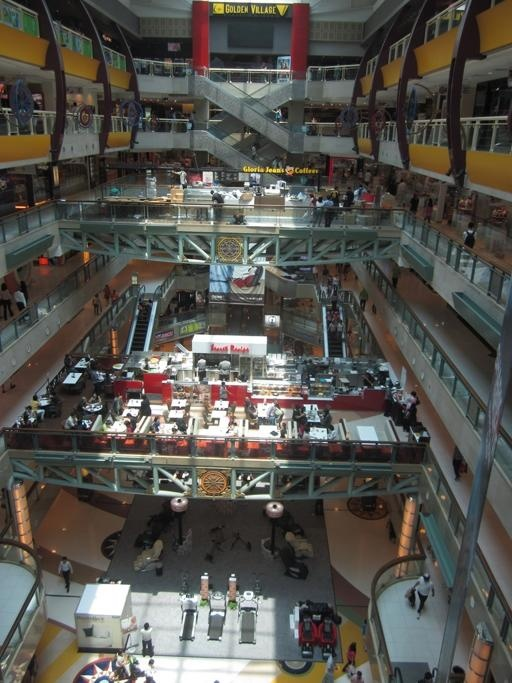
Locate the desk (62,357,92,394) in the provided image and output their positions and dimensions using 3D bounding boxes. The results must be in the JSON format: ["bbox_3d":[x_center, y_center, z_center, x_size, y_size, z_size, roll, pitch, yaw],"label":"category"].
[{"bbox_3d":[-7.201,1.452,18.788,0.439,1.549,0.380,3,-50,-4],"label":"desk"}]
